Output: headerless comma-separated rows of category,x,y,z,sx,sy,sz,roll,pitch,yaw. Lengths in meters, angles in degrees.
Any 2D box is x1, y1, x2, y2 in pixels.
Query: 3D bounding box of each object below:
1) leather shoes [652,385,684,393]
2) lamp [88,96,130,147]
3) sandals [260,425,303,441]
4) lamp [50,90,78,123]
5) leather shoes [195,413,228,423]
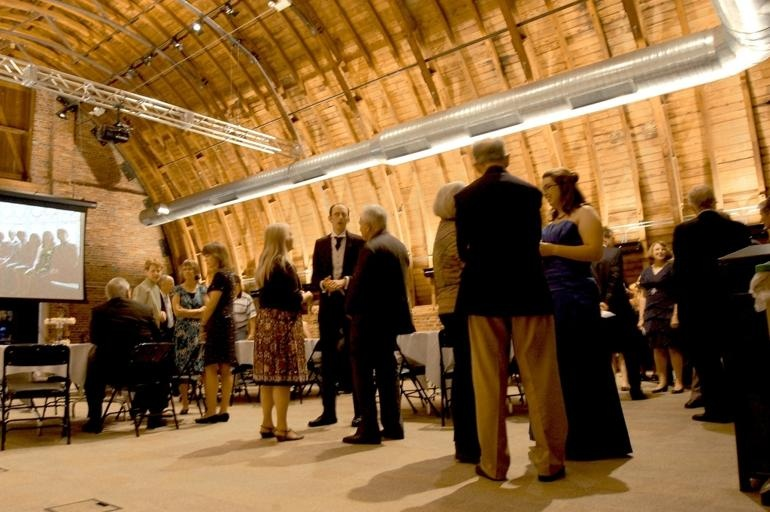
leather shoes,4.118,1.924,8.029,0.491,0.118,0.160,6,-14,-16
lamp,-7.399,-3.633,14.843,1.033,0.814,1.694,-6,-35,-36
sandals,-1.176,1.937,6.092,0.458,0.113,0.180,-3,-11,16
lamp,-9.704,-4.503,16.911,0.647,0.656,0.573,-1,-13,-11
leather shoes,-2.220,2.095,7.185,0.444,0.099,0.146,3,-10,-12
